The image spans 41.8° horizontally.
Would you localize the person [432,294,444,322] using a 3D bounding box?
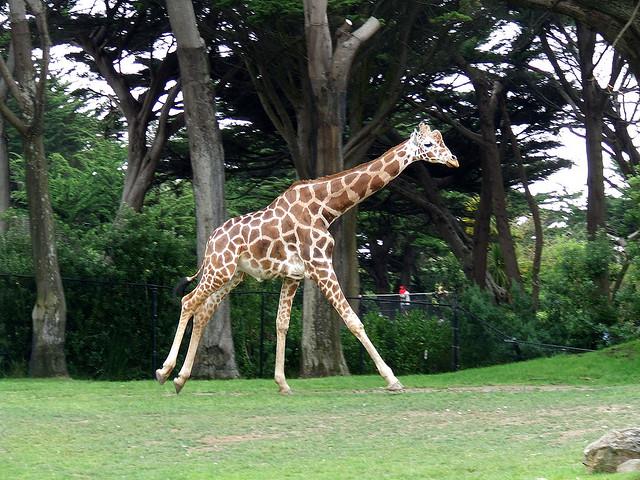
[{"bbox_3d":[3.448,2.038,24.637,0.319,0.888,0.262,-16,13,-25],"label":"person"}]
